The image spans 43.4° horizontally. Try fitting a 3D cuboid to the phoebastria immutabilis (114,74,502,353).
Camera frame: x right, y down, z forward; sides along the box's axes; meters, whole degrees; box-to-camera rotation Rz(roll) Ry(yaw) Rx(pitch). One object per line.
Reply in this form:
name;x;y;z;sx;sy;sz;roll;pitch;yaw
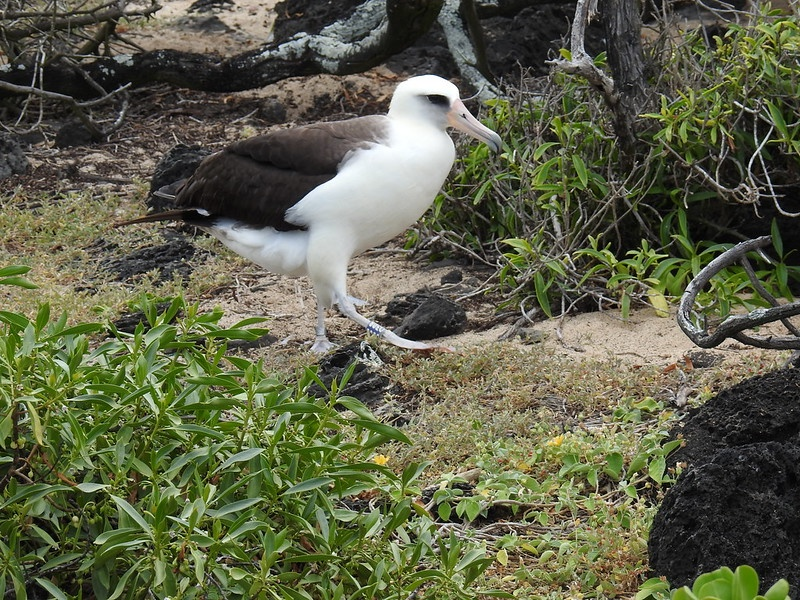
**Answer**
phoebastria immutabilis;-0.456;-0.502;5.780;2.291;1.475;0.970;11;8;24
